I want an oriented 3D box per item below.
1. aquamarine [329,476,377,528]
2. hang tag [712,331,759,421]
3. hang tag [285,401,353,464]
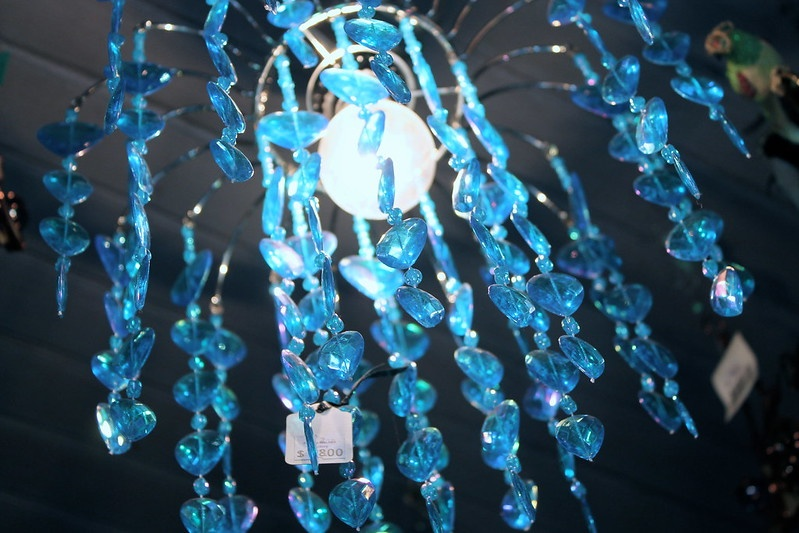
[{"bbox_3d":[-0.113,0.547,1.845,0.104,0.122,0.102,7,-34,-16],"label":"aquamarine"},{"bbox_3d":[1.121,0.373,2.656,0.020,0.216,0.199,9,-49,-28],"label":"hang tag"},{"bbox_3d":[-0.187,0.390,1.867,0.163,0.140,0.018,-1,4,-5],"label":"hang tag"}]
